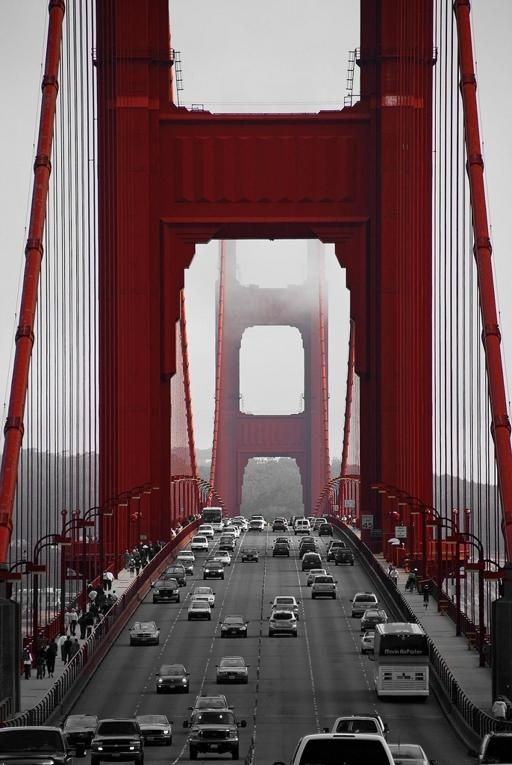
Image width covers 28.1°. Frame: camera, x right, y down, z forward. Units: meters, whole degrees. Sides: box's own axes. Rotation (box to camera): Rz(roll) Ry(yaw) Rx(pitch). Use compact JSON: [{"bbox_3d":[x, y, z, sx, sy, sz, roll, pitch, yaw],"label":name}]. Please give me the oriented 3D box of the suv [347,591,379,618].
[{"bbox_3d":[4.121,8.539,39.283,0.681,1.058,1.805,1,-1,3],"label":"suv"}]
